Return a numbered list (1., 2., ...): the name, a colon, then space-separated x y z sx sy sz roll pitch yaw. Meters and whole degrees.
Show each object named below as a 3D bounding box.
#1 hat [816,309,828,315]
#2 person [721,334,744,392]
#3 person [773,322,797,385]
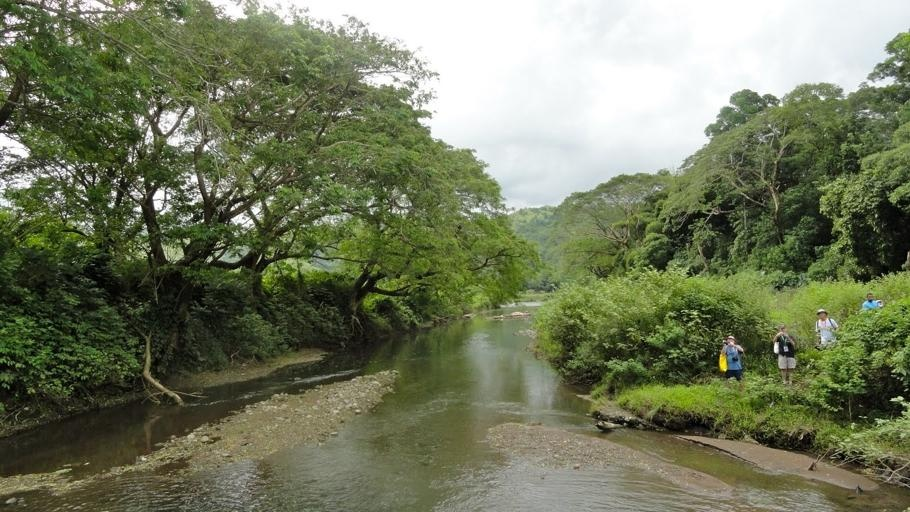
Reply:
1. hat: 17.177 2.610 28.894 0.400 0.130 0.457 -12 -11 23
2. person: 12.727 4.656 28.214 0.897 1.959 1.465 2 4 24
3. person: 14.909 4.369 27.866 0.909 2.539 1.428 2 4 27
